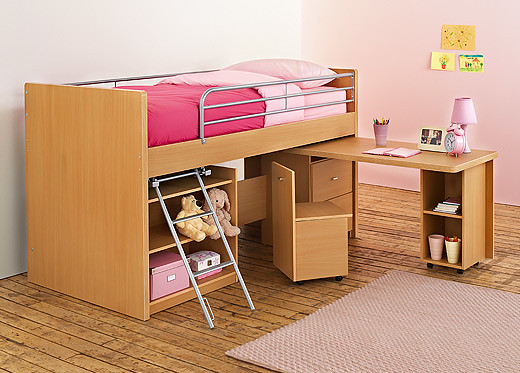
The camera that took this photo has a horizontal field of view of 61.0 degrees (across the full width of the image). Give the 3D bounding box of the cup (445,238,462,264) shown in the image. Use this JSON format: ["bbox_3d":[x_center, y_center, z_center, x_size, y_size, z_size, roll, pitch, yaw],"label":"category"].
[{"bbox_3d":[1.442,0.475,3.312,0.119,0.181,0.134,6,20,20],"label":"cup"}]

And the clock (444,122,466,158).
[{"bbox_3d":[1.473,-0.346,3.331,0.156,0.211,0.206,3,18,11],"label":"clock"}]

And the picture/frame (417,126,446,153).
[{"bbox_3d":[1.369,-0.382,3.498,0.035,0.175,0.246,-10,17,-30],"label":"picture/frame"}]

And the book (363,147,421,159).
[{"bbox_3d":[1.035,-0.271,3.449,0.381,0.025,0.306,8,18,29],"label":"book"}]

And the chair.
[{"bbox_3d":[0.404,0.272,3.308,0.607,0.686,0.463,2,8,-4],"label":"chair"}]
